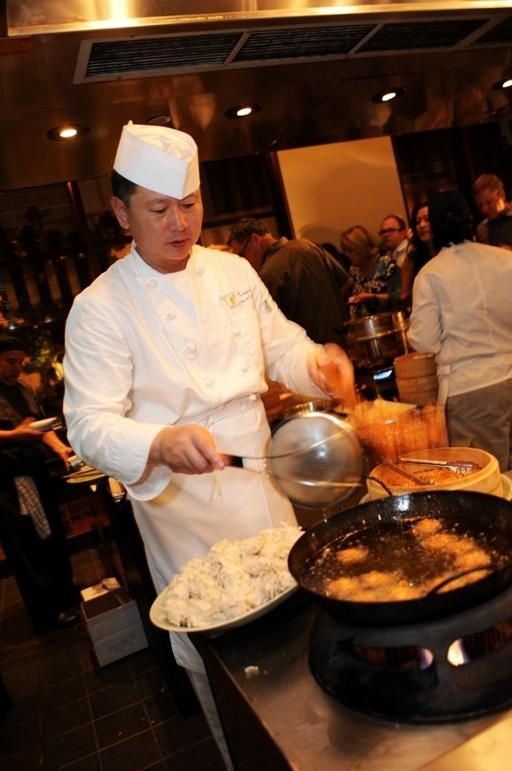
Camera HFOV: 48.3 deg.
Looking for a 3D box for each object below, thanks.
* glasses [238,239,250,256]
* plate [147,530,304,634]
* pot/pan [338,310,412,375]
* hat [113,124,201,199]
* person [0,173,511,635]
[{"bbox_3d":[-0.057,-0.780,3.292,0.082,0.109,0.032,11,3,38],"label":"glasses"},{"bbox_3d":[-0.050,0.268,0.743,0.169,0.049,0.176,-6,14,33],"label":"plate"},{"bbox_3d":[0.599,-0.224,2.975,0.319,0.266,0.295,-18,4,1],"label":"pot/pan"},{"bbox_3d":[-0.207,-0.477,1.166,0.169,0.091,0.213,-4,43,-34],"label":"hat"},{"bbox_3d":[0.223,-0.134,1.711,0.925,1.604,0.837,-25,23,-29],"label":"person"}]
